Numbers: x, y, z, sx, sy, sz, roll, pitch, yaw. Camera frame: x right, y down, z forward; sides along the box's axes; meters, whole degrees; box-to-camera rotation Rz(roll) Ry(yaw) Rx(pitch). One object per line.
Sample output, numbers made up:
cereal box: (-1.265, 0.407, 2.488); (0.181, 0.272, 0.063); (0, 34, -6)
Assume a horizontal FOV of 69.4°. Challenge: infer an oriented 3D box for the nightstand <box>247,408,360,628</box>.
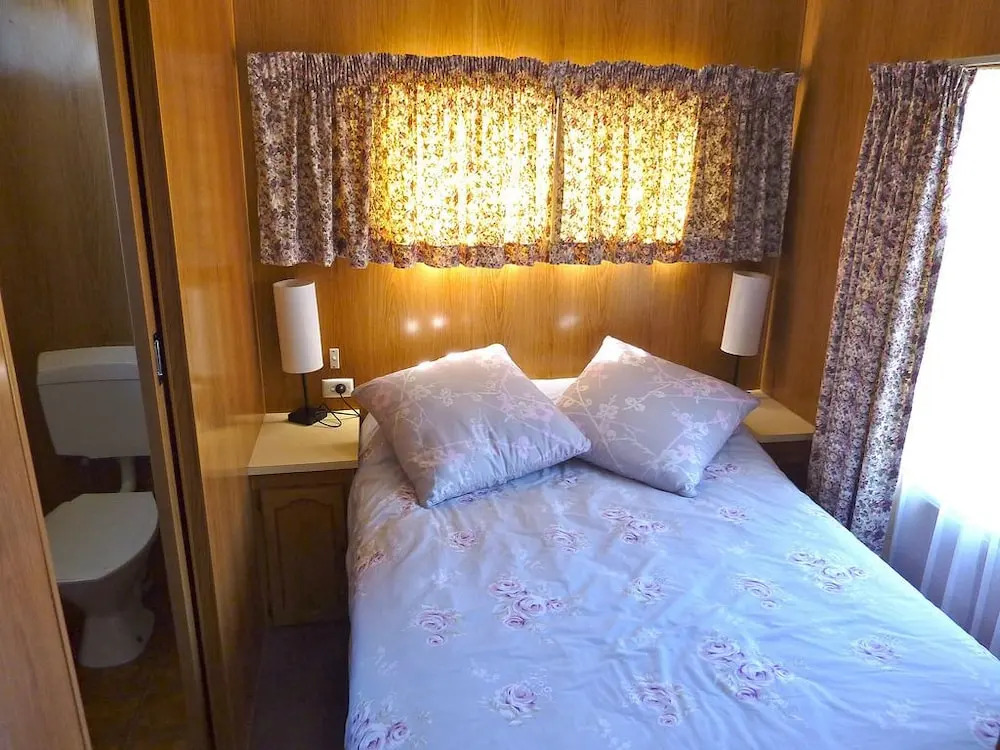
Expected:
nightstand: (-0.875, 0.618, 3.283); (0.389, 0.833, 0.544); (-3, 24, -13)
